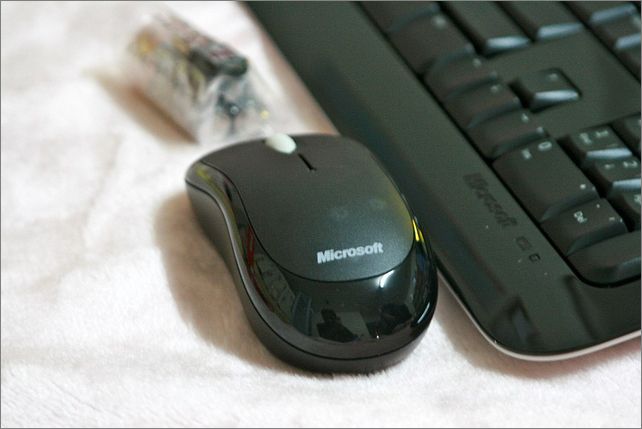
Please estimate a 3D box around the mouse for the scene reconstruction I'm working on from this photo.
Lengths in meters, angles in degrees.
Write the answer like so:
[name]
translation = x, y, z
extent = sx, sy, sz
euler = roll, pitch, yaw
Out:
[mouse]
translation = -0.003, 0.027, 0.629
extent = 0.184, 0.190, 0.209
euler = -33, 34, 4
